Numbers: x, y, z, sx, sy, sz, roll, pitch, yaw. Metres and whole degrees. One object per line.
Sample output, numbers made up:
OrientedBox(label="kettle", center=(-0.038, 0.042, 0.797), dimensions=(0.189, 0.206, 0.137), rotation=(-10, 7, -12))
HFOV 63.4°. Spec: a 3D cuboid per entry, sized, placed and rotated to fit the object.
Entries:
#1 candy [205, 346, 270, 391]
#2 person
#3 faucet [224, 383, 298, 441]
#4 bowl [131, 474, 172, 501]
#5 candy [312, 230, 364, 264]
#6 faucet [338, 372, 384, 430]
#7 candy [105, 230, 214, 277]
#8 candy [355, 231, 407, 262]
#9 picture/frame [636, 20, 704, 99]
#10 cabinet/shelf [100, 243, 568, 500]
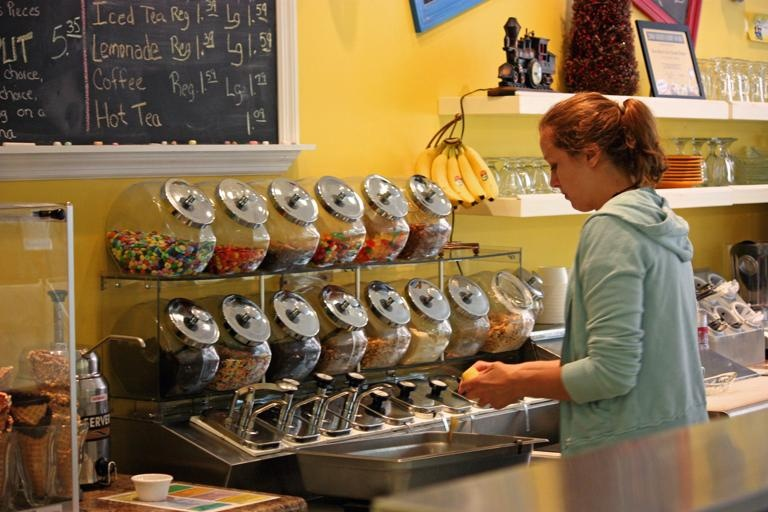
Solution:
OrientedBox(label="candy", center=(-0.450, 0.332, 2.034), dimensions=(0.173, 0.153, 0.179), rotation=(10, 6, 31))
OrientedBox(label="person", center=(0.533, 0.047, 1.702), dimensions=(0.544, 0.994, 0.296), rotation=(-6, -4, 26))
OrientedBox(label="faucet", center=(-0.388, 0.491, 1.914), dimensions=(0.183, 0.086, 0.205), rotation=(3, 33, -17))
OrientedBox(label="bowl", center=(-0.599, 0.586, 1.594), dimensions=(0.088, 0.038, 0.080), rotation=(1, 1, 0))
OrientedBox(label="candy", center=(-0.174, -0.061, 2.240), dimensions=(0.156, 0.111, 0.137), rotation=(-4, -42, -41))
OrientedBox(label="faucet", center=(-0.075, 0.474, 2.017), dimensions=(0.076, 0.081, 0.244), rotation=(1, 7, 9))
OrientedBox(label="candy", center=(-0.742, -0.015, 1.998), dimensions=(0.405, 0.171, 0.132), rotation=(-5, -3, 23))
OrientedBox(label="candy", center=(-0.012, -0.039, 2.276), dimensions=(0.168, 0.075, 0.110), rotation=(0, -4, -29))
OrientedBox(label="picture/frame", center=(1.576, -1.081, 3.430), dimensions=(0.464, 0.317, 0.054), rotation=(-2, -4, -29))
OrientedBox(label="cabinet/shelf", center=(-0.014, 0.423, 2.299), dimensions=(1.624, 0.585, 0.774), rotation=(0, -5, -40))
